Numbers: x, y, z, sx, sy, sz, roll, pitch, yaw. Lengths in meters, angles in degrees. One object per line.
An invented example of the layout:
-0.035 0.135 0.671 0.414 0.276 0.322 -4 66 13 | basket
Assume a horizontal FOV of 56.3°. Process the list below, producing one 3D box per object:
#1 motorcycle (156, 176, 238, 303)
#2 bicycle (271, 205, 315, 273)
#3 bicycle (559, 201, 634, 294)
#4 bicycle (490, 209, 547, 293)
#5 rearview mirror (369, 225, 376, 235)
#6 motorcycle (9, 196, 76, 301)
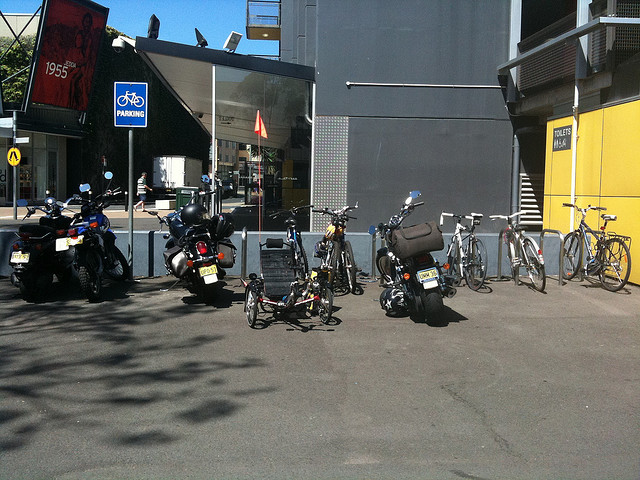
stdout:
-1.779 0.216 9.222 0.959 1.535 1.265 -4 9 -31 | motorcycle
-0.415 -0.006 9.432 0.628 1.010 1.461 0 8 -3 | bicycle
5.103 0.273 10.846 0.856 1.263 1.867 2 8 -8 | bicycle
3.674 0.166 10.943 0.713 1.219 1.972 -15 13 0 | bicycle
0.884 -0.167 10.102 0.139 0.170 0.050 1 3 -5 | rearview mirror
-4.352 0.034 9.656 0.733 1.577 2.167 1 14 -6 | motorcycle
